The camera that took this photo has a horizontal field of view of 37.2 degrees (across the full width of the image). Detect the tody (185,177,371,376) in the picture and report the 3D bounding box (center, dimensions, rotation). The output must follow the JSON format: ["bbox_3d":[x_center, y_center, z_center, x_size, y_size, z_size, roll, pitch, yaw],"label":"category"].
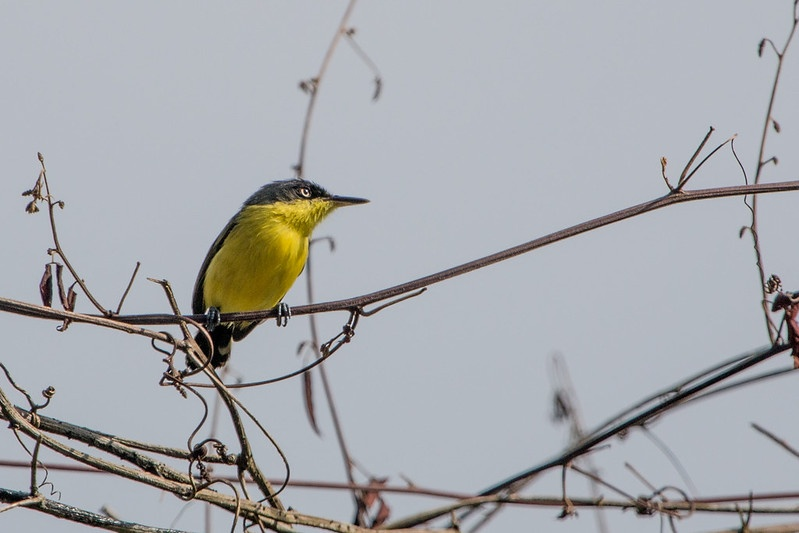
[{"bbox_3d":[-0.836,-0.199,7.359,0.923,0.582,1.542,10,-90,-24],"label":"tody"}]
